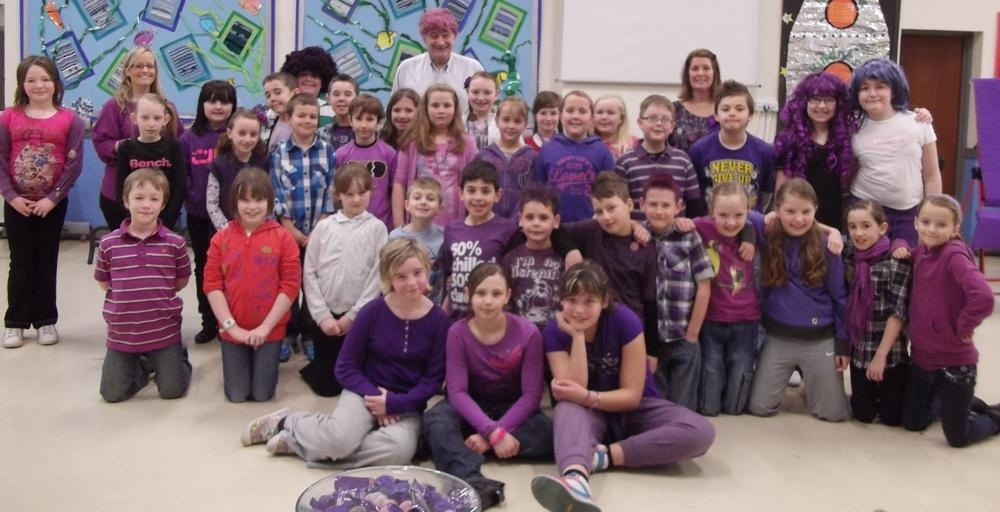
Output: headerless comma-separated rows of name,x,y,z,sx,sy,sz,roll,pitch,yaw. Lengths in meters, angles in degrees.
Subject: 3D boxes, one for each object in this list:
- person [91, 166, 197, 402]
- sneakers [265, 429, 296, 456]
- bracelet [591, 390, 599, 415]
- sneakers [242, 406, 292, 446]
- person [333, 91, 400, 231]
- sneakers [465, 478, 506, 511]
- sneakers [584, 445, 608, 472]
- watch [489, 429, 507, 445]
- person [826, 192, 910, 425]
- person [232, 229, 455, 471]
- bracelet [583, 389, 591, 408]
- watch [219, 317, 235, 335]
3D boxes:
person,-2.508,0.207,5.332,0.606,1.591,0.362,-2,8,-19
sneakers,-1.417,1.207,4.865,0.197,0.123,0.077,-7,7,-11
bracelet,0.614,0.930,4.872,0.054,0.139,0.076,0,8,1
sneakers,-1.536,1.128,4.990,0.190,0.098,0.316,16,18,6
person,-1.046,-0.617,5.934,0.621,1.174,0.428,2,8,-1
sneakers,-0.066,1.428,4.604,0.241,0.160,0.124,-2,8,-20
sneakers,0.632,1.266,4.824,0.085,0.085,0.205,1,4,7
watch,-0.019,1.134,4.788,0.100,0.103,0.040,7,-26,45
person,2.595,0.392,5.242,0.446,1.525,0.262,3,9,21
person,-0.972,0.655,5.098,1.483,1.494,0.904,1,11,4
bracelet,0.561,0.908,4.839,0.044,0.099,0.024,0,8,1
watch,-1.926,0.491,5.317,0.096,0.103,0.052,3,17,-11
